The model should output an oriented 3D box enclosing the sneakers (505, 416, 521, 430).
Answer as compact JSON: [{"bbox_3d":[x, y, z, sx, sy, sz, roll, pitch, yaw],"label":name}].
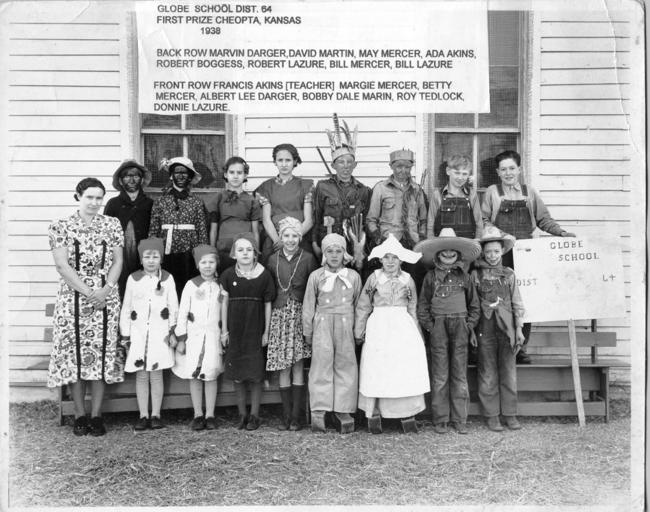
[{"bbox_3d":[1.783,1.593,8.825,0.167,0.126,0.128,0,3,9],"label":"sneakers"}]

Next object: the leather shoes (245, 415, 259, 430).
[{"bbox_3d":[-0.691,1.581,8.803,0.119,0.129,0.187,0,3,5],"label":"leather shoes"}]

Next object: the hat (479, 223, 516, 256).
[{"bbox_3d":[1.705,-0.140,9.008,0.278,0.280,0.441,2,4,37],"label":"hat"}]

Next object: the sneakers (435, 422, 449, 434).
[{"bbox_3d":[1.093,1.628,8.750,0.117,0.090,0.122,0,3,4],"label":"sneakers"}]

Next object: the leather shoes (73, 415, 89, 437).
[{"bbox_3d":[-2.271,1.582,8.619,0.143,0.175,0.109,-1,3,-16],"label":"leather shoes"}]

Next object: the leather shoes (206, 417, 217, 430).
[{"bbox_3d":[-1.081,1.587,8.726,0.118,0.159,0.100,0,-37,-10],"label":"leather shoes"}]

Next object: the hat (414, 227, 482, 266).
[{"bbox_3d":[1.168,-0.078,8.899,0.392,0.139,0.408,3,-40,4],"label":"hat"}]

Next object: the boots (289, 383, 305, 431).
[{"bbox_3d":[-0.270,1.438,8.850,0.118,0.408,0.299,0,3,8],"label":"boots"}]

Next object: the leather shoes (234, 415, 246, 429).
[{"bbox_3d":[-0.808,1.572,8.873,0.103,0.125,0.274,-1,3,-7],"label":"leather shoes"}]

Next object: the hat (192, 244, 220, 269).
[{"bbox_3d":[-1.161,0.005,8.927,0.246,0.211,0.219,0,3,-2],"label":"hat"}]

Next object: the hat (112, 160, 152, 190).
[{"bbox_3d":[-1.930,-0.809,9.305,0.437,0.312,0.360,-3,4,-35],"label":"hat"}]

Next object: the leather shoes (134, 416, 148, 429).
[{"bbox_3d":[-1.729,1.585,8.732,0.142,0.119,0.080,-1,3,-12],"label":"leather shoes"}]

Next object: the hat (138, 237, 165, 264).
[{"bbox_3d":[-1.648,-0.062,8.802,0.254,0.235,0.190,2,-5,-8],"label":"hat"}]

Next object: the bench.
[{"bbox_3d":[0.067,1.035,9.167,5.677,1.153,0.759,0,3,-2],"label":"bench"}]

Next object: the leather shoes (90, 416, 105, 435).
[{"bbox_3d":[-2.127,1.590,8.643,0.138,0.173,0.114,-1,3,-14],"label":"leather shoes"}]

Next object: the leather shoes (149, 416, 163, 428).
[{"bbox_3d":[-1.604,1.575,8.815,0.125,0.123,0.161,-1,3,-11],"label":"leather shoes"}]

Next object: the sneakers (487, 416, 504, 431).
[{"bbox_3d":[1.608,1.598,8.793,0.150,0.134,0.117,0,3,11],"label":"sneakers"}]

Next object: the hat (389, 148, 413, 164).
[{"bbox_3d":[0.755,-0.997,9.305,0.209,0.107,0.209,-1,4,3],"label":"hat"}]

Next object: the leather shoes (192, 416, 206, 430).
[{"bbox_3d":[-1.203,1.579,8.752,0.115,0.129,0.138,-1,3,-11],"label":"leather shoes"}]
